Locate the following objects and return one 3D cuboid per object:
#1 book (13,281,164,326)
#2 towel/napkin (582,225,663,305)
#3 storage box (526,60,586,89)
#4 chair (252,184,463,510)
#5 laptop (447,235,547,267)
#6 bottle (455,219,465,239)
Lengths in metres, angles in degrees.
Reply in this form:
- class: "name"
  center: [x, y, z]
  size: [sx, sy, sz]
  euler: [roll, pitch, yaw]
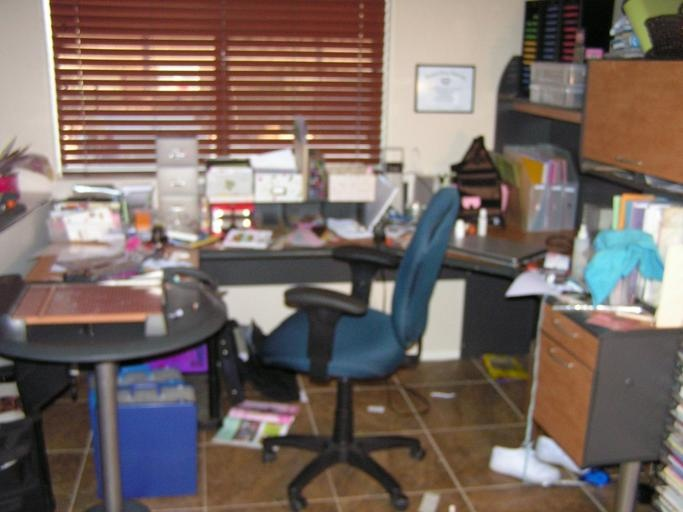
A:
- class: "book"
  center: [-0.920, 0.176, 2.158]
  size: [0.396, 0.045, 0.225]
  euler: [-1, 15, -12]
- class: "towel/napkin"
  center: [1.154, 0.035, 2.440]
  size: [0.305, 0.309, 0.138]
  euler: [-9, -3, 13]
- class: "storage box"
  center: [1.144, -0.968, 3.148]
  size: [0.243, 0.088, 0.244]
  euler: [-6, 13, -27]
- class: "chair"
  center: [0.089, 0.276, 3.387]
  size: [1.282, 2.005, 1.274]
  euler: [5, 13, 7]
- class: "laptop"
  center: [0.788, -0.038, 2.950]
  size: [0.239, 0.051, 0.246]
  euler: [-10, 18, -35]
- class: "bottle"
  center: [0.634, -0.138, 3.159]
  size: [0.054, 0.103, 0.038]
  euler: [0, -9, 15]
